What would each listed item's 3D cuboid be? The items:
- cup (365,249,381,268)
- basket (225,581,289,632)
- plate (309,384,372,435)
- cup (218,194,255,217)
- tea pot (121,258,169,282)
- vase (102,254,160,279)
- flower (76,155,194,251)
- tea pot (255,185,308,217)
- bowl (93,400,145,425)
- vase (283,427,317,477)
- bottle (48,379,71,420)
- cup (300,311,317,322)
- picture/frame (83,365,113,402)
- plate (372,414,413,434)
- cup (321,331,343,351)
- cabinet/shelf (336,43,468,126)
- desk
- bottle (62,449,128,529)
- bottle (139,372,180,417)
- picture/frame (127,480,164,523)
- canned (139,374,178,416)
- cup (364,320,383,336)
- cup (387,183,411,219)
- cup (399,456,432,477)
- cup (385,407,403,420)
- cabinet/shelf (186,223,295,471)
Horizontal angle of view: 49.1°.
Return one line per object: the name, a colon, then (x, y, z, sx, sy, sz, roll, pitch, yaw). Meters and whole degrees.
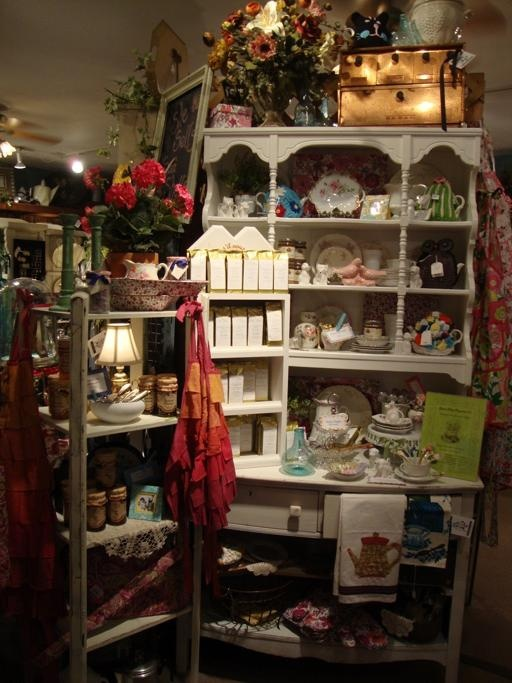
cup: (0.547, -0.382, 2.628, 0.092, 0.081, 0.073, 5, 7, 21)
basket: (-0.004, 1.150, 2.439, 0.174, 0.081, 0.209, 0, 7, -8)
plate: (0.417, 0.340, 2.696, 0.286, 0.229, 0.267, 1, 3, 8)
cup: (-0.091, -0.632, 2.638, 0.176, 0.116, 0.094, 0, 4, 4)
tea pot: (-0.409, -0.260, 2.082, 0.146, 0.079, 0.081, 1, 3, -30)
vase: (-0.468, -0.260, 2.092, 0.155, 0.104, 0.115, 3, 3, 0)
flower: (-0.479, -0.536, 2.215, 0.439, 0.342, 0.409, 15, 16, -20)
tea pot: (0.124, -0.651, 2.699, 0.170, 0.140, 0.199, 3, 10, 24)
bowl: (-0.483, 0.244, 1.967, 0.114, 0.044, 0.111, 1, 3, 0)
vase: (0.177, 0.457, 2.379, 0.179, 0.243, 0.175, 0, 0, 2)
bottle: (-0.676, 0.205, 1.945, 0.085, 0.124, 0.085, 4, 4, 0)
cup: (0.253, -0.119, 2.741, 0.063, 0.042, 0.046, 1, -3, -25)
picture/frame: (-0.540, 0.148, 1.893, 0.032, 0.105, 0.109, 0, 0, 27)
plate: (0.617, 0.376, 2.531, 0.184, 0.072, 0.110, 1, 4, 15)
cup: (0.344, -0.003, 2.624, 0.098, 0.073, 0.086, -1, 8, -17)
cabinet/shelf: (0.633, -1.142, 2.620, 0.569, 0.333, 0.324, -3, 12, -2)
desk: (0.321, 0.935, 2.327, 1.107, 0.917, 0.454, 0, -6, 15)
bottle: (-0.541, 0.535, 2.052, 0.191, 0.260, 0.287, 5, 7, 40)
bottle: (-0.361, 0.199, 2.125, 0.158, 0.143, 0.152, 1, 4, -6)
picture/frame: (-0.417, 0.608, 2.103, 0.141, 0.150, 0.010, 2, -20, -1)
canned: (-0.362, 0.195, 2.137, 0.155, 0.140, 0.149, 1, 6, -9)
cup: (0.545, -0.059, 2.582, 0.075, 0.064, 0.073, 0, 1, 0)
cup: (0.627, -0.629, 2.570, 0.149, 0.158, 0.145, 0, 0, 0)
cup: (0.659, 0.517, 2.323, 0.096, 0.041, 0.074, -2, 5, -5)
cup: (0.617, 0.325, 2.504, 0.067, 0.064, 0.049, 8, -14, -2)
cabinet/shelf: (-0.077, 0.028, 2.405, 0.469, 1.010, 0.209, 1, 4, -27)
